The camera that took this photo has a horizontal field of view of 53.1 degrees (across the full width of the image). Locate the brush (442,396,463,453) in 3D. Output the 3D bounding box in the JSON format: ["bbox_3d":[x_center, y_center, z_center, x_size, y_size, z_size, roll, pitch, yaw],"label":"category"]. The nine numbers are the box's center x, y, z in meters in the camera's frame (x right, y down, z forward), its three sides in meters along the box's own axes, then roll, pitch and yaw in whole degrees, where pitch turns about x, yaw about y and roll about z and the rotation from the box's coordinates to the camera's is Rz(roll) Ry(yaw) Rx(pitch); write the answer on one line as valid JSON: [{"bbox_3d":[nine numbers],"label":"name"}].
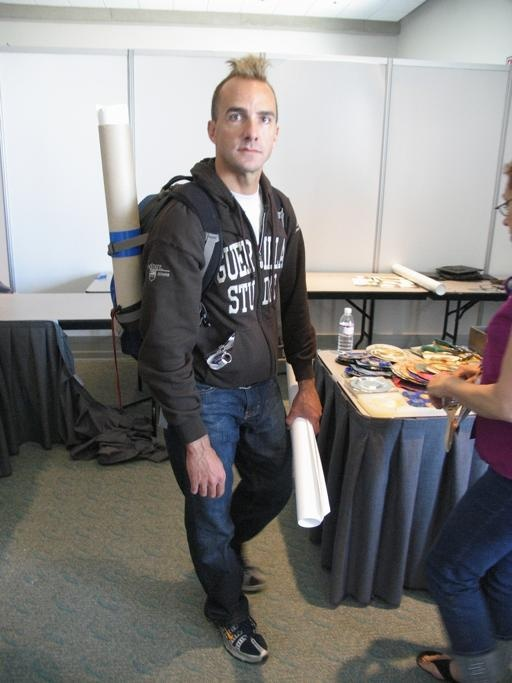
[{"bbox_3d":[0.520,0.210,1.353,0.026,0.084,0.017,23,8,11],"label":"brush"}]

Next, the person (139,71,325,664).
[{"bbox_3d":[-0.030,0.122,1.426,0.369,1.659,0.645,6,16,22],"label":"person"}]

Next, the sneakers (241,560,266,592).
[{"bbox_3d":[-0.031,0.844,1.855,0.063,0.076,0.179,4,-12,-18],"label":"sneakers"}]

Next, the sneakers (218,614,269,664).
[{"bbox_3d":[-0.041,0.882,1.562,0.079,0.073,0.160,1,4,-31],"label":"sneakers"}]

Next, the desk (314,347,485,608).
[{"bbox_3d":[0.269,0.441,1.865,0.535,0.701,0.733,-2,21,-3],"label":"desk"}]

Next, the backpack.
[{"bbox_3d":[-0.203,-0.191,1.366,0.322,0.494,0.372,2,14,16],"label":"backpack"}]
